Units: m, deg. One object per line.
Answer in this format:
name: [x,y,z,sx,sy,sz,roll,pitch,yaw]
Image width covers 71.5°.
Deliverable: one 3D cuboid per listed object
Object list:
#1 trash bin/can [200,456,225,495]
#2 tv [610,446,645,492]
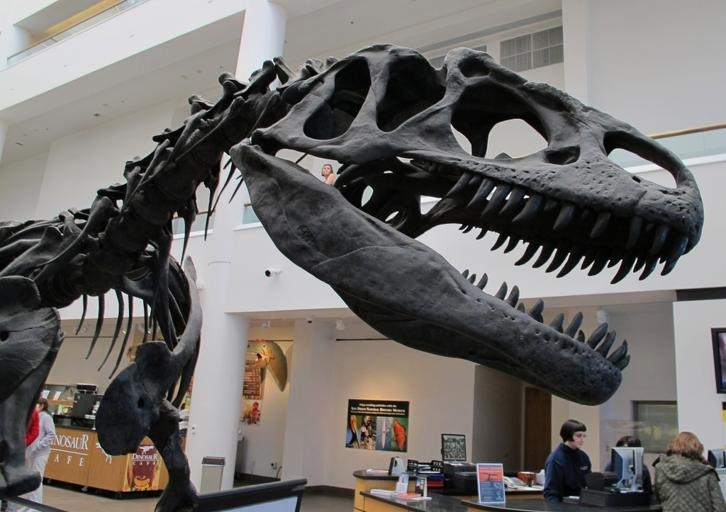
trash bin/can: [-1.425,2.097,4.790,0.188,0.341,0.369,7,-14,-16]
tv: [2.593,2.123,4.964,0.411,0.433,0.231,3,-6,-7]
